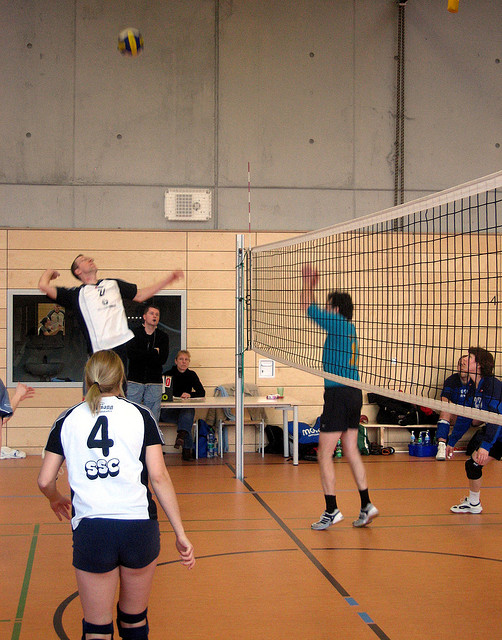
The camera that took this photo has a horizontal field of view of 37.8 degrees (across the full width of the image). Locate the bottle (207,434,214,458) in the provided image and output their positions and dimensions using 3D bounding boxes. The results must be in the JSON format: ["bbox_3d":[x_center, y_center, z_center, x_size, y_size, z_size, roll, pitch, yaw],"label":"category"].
[{"bbox_3d":[-0.478,1.537,8.961,0.077,0.261,0.065,0,-1,-3],"label":"bottle"}]

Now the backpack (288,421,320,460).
[{"bbox_3d":[0.693,1.428,8.888,0.479,0.212,0.691,1,24,-6],"label":"backpack"}]

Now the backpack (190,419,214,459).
[{"bbox_3d":[-0.580,1.451,9.157,0.320,0.587,0.406,3,8,-2],"label":"backpack"}]

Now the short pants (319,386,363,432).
[{"bbox_3d":[0.721,0.651,5.572,0.363,0.359,0.228,1,7,-37],"label":"short pants"}]

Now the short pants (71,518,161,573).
[{"bbox_3d":[-0.478,0.863,2.887,0.307,0.231,0.220,1,9,11],"label":"short pants"}]

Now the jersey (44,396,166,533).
[{"bbox_3d":[-0.542,0.531,2.956,0.454,0.517,0.289,1,6,-3],"label":"jersey"}]

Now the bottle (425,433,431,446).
[{"bbox_3d":[2.224,1.494,9.202,0.066,0.141,0.085,0,-1,-5],"label":"bottle"}]

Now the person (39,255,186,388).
[{"bbox_3d":[-1.393,0.002,7.072,1.391,1.895,0.438,-4,-26,-24],"label":"person"}]

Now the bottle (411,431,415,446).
[{"bbox_3d":[2.049,1.499,9.240,0.038,0.147,0.166,0,-1,12],"label":"bottle"}]

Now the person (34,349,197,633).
[{"bbox_3d":[-0.569,0.712,2.964,0.622,1.169,0.409,0,-1,36],"label":"person"}]

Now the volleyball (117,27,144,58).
[{"bbox_3d":[-1.285,-3.007,7.857,0.207,0.276,0.308,0,-1,8],"label":"volleyball"}]

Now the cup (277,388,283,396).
[{"bbox_3d":[0.365,0.864,8.919,0.076,0.091,0.080,0,-6,0],"label":"cup"}]

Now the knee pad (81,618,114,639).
[{"bbox_3d":[-0.585,1.177,2.829,0.098,0.102,0.082,-3,-10,5],"label":"knee pad"}]

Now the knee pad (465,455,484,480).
[{"bbox_3d":[1.868,1.212,6.010,0.181,0.187,0.145,-5,6,-15],"label":"knee pad"}]
